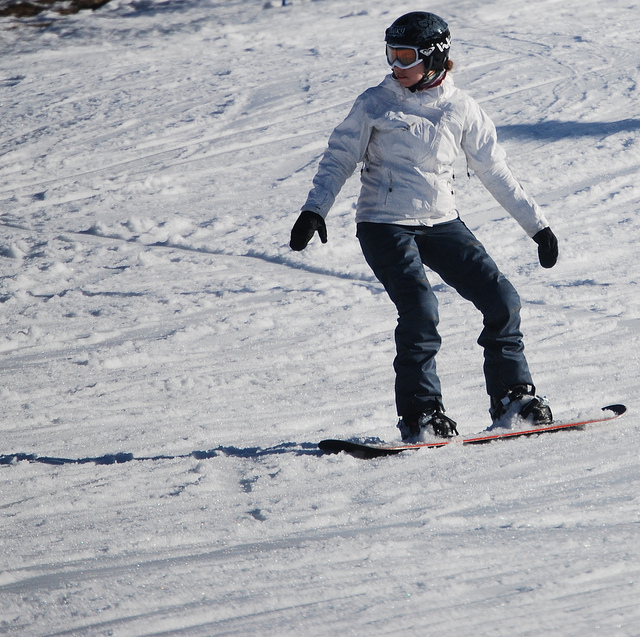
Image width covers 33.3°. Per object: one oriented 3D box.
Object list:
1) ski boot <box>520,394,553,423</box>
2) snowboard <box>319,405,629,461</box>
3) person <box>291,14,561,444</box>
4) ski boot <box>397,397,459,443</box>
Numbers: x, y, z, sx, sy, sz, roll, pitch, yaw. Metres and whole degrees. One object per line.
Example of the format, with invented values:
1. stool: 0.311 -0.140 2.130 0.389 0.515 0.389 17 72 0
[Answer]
1. ski boot: 1.064 0.440 5.254 0.181 0.067 0.115 12 47 1
2. snowboard: 0.793 0.568 5.262 1.299 0.047 0.130 -7 4 -13
3. person: 0.510 -0.437 5.204 1.231 2.021 0.906 -2 20 10
4. ski boot: 0.541 0.492 5.140 0.311 0.105 0.178 -9 47 -8
